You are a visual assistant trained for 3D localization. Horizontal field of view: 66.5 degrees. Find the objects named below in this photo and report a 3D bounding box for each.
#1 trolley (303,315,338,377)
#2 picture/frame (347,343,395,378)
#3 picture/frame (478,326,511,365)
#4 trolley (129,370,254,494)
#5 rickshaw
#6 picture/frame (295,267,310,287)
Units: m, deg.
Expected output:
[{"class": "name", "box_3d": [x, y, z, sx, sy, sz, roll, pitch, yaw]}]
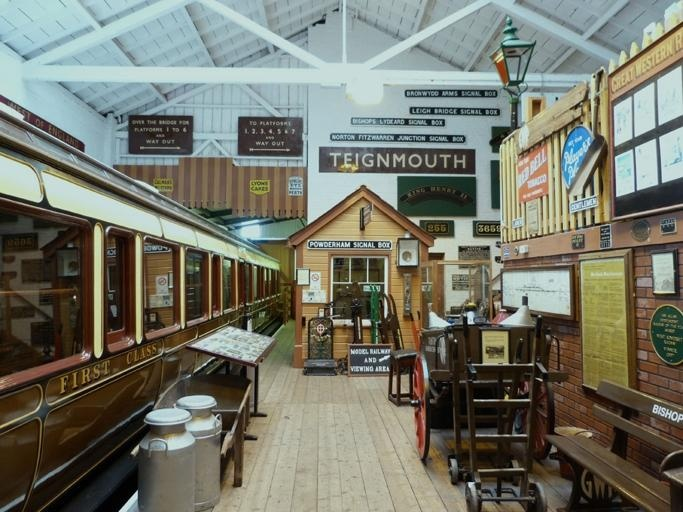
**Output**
[{"class": "trolley", "box_3d": [-0.379, 1.654, 9.726, 0.733, 1.299, 0.868, 1, -3, -1]}, {"class": "picture/frame", "box_3d": [0.517, 1.849, 9.180, 0.645, 0.534, 0.072, 0, 2, -1]}, {"class": "picture/frame", "box_3d": [1.598, 0.932, 5.430, 0.336, 0.463, 0.033, 0, 1, -3]}, {"class": "trolley", "box_3d": [-1.527, 2.021, 6.139, 0.816, 1.206, 2.606, 7, -9, -7]}, {"class": "rickshaw", "box_3d": [1.443, 1.443, 5.407, 1.113, 1.303, 1.714, 1, -7, 3]}, {"class": "picture/frame", "box_3d": [-0.748, 0.405, 10.251, 0.292, 0.353, 0.079, 2, -3, -3]}]
